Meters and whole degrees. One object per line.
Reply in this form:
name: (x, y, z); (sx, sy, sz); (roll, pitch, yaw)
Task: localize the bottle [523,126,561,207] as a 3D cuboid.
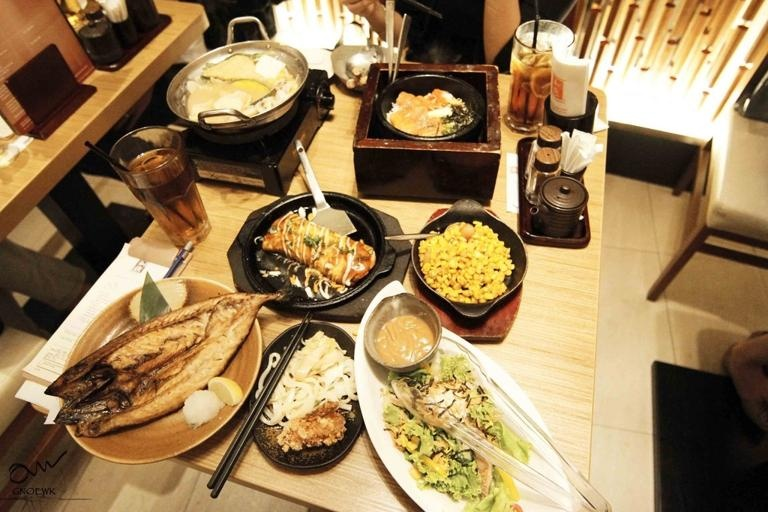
bottle: (0.849, -0.465, 2.837); (0.209, 0.436, 0.248); (2, 50, 4)

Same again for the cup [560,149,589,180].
cup: (1.025, -0.489, 2.851); (0.120, 0.111, 0.111); (1, 85, -6)

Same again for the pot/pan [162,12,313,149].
pot/pan: (-0.813, -0.913, 3.211); (0.770, 0.354, 0.999); (1, 61, 5)
